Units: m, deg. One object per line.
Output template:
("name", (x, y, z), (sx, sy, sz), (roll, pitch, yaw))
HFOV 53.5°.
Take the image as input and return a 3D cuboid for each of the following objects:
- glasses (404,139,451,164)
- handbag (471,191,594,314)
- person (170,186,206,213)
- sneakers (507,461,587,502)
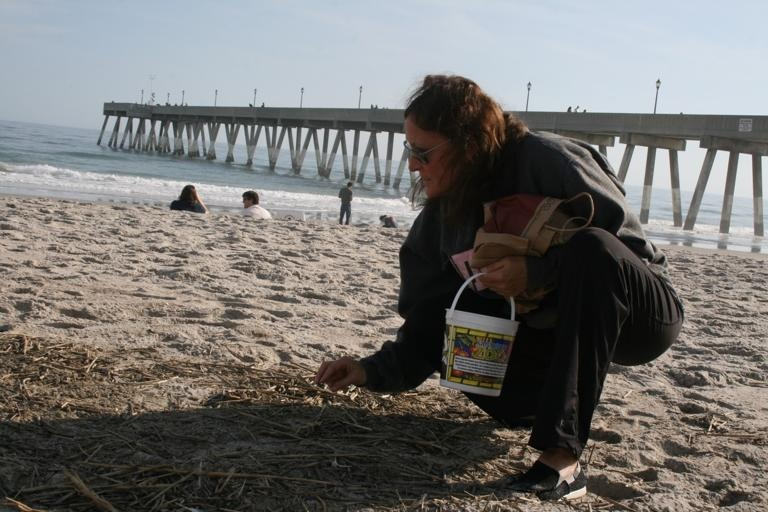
("glasses", (0.196, -0.467, 3.502), (0.186, 0.051, 0.173), (-17, 22, -18))
("handbag", (0.662, -0.118, 3.490), (0.566, 0.400, 0.233), (-5, -2, 21))
("person", (-2.868, -0.829, 11.047), (0.490, 0.355, 1.014), (3, 11, -15))
("sneakers", (0.702, 0.970, 3.302), (0.308, 0.107, 0.160), (3, -6, -15))
